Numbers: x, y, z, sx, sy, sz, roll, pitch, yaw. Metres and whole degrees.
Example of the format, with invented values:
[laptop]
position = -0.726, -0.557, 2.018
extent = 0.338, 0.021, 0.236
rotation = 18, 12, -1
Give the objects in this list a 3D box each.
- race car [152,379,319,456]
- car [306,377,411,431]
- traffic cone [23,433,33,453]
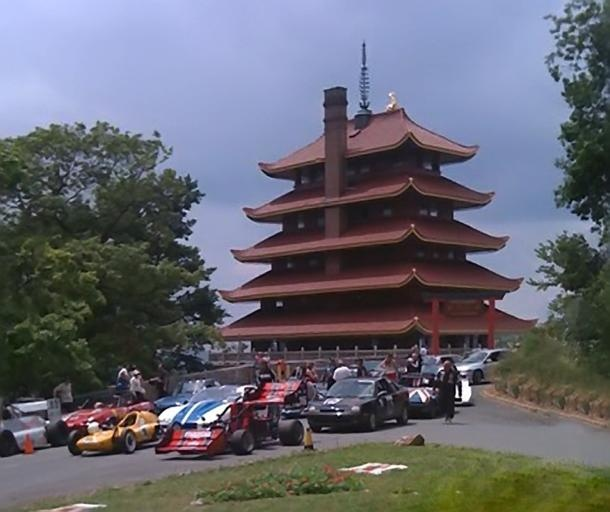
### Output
[race car]
position = -1.915, 4.576, 24.327
extent = 4.752, 2.267, 2.514
rotation = 10, -14, -37
[car]
position = 1.722, 4.704, 27.050
extent = 1.729, 1.558, 4.116
rotation = -4, -7, 29
[traffic cone]
position = -8.749, 5.899, 26.715
extent = 0.415, 0.635, 0.456
rotation = 4, -25, -18
